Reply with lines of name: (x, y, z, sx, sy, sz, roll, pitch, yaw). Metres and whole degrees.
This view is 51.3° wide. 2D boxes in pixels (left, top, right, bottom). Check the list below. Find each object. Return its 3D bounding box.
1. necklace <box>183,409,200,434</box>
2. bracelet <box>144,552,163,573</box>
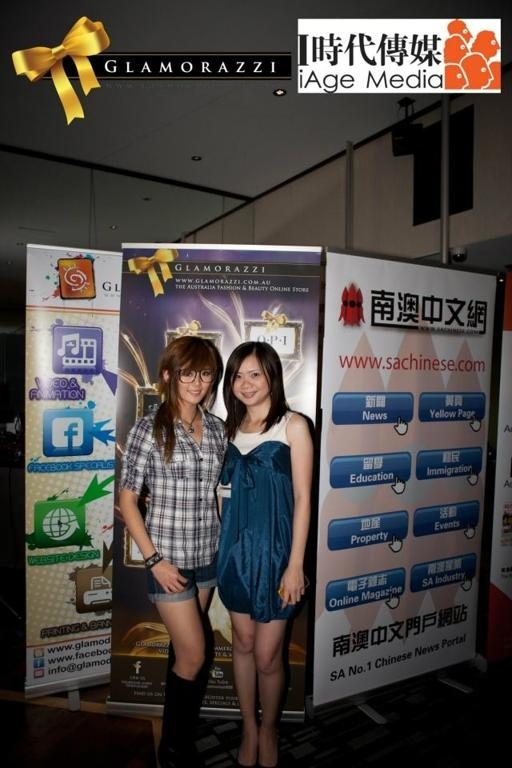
necklace: (-0.226, 0.131, 1.855, 0.004, 0.097, 0.078, -13, -9, 33)
bracelet: (-0.347, 0.595, 1.794, 0.059, 0.023, 0.051, -44, 1, 8)
